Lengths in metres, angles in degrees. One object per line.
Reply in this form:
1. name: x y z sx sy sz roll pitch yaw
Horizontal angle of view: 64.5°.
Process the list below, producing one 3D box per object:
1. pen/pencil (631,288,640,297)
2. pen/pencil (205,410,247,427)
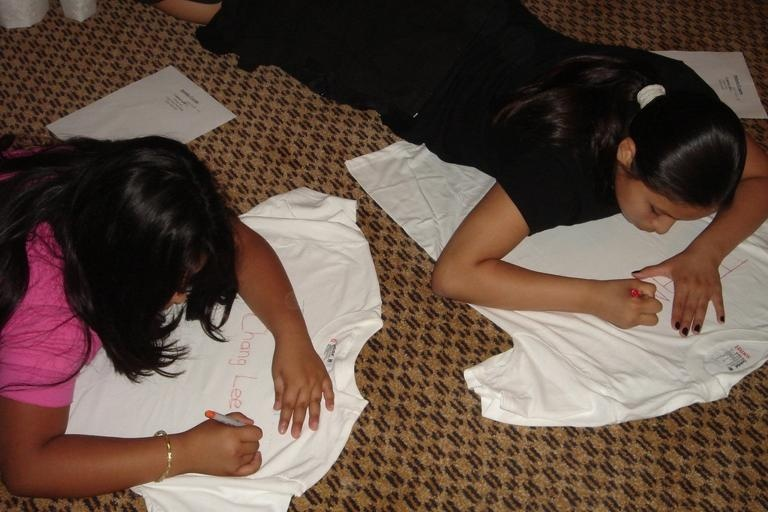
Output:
1. pen/pencil: 0.699 0.105 1.694 0.021 0.010 0.020 -43 98 -12
2. pen/pencil: -0.395 0.407 1.513 0.082 0.019 0.020 18 22 -29
